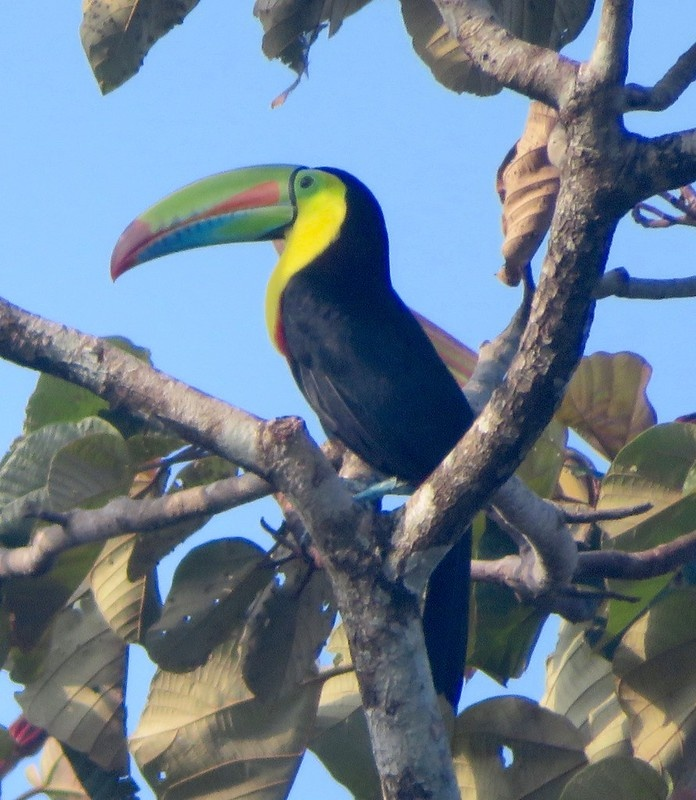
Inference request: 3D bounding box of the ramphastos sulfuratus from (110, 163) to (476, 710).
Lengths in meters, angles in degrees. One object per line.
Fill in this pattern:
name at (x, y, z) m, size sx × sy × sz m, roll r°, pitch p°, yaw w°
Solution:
ramphastos sulfuratus at (-0.168, 0.185, 5.648) m, size 0.983 × 1.861 × 0.445 m, roll 3°, pitch -28°, yaw -4°
